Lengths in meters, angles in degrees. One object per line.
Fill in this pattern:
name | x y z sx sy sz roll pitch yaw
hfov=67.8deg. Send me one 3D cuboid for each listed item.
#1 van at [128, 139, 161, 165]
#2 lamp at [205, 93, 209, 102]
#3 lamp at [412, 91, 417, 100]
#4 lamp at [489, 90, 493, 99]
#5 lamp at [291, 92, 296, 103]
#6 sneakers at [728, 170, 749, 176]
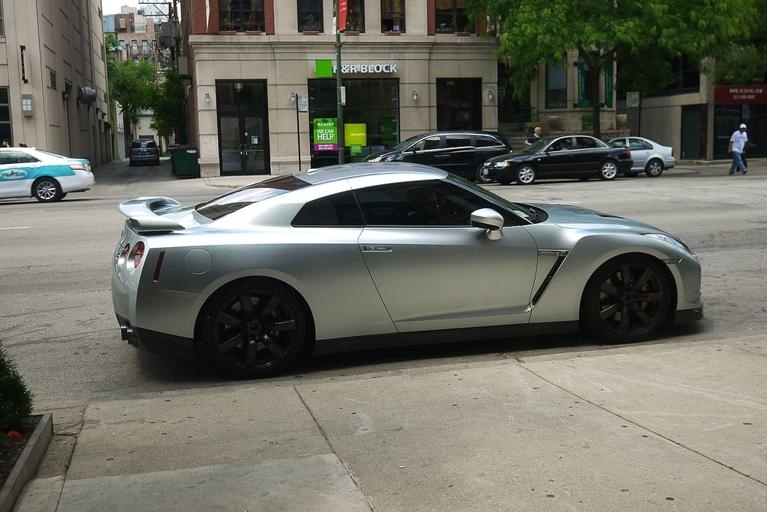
van | -22.794 -9.870 54.513 1.942 1.704 3.455 -3 5 -14
lamp | -9.668 -8.622 31.214 0.286 0.479 0.087 -8 13 -32
lamp | 1.860 -9.246 32.994 0.326 0.505 0.103 -4 11 -14
lamp | 6.418 -9.582 34.036 0.274 0.523 0.109 -3 11 -8
lamp | -5.009 -8.791 31.824 0.279 0.498 0.191 0 11 4
sneakers | 16.909 -3.937 27.064 0.633 0.161 0.194 6 -20 -31
